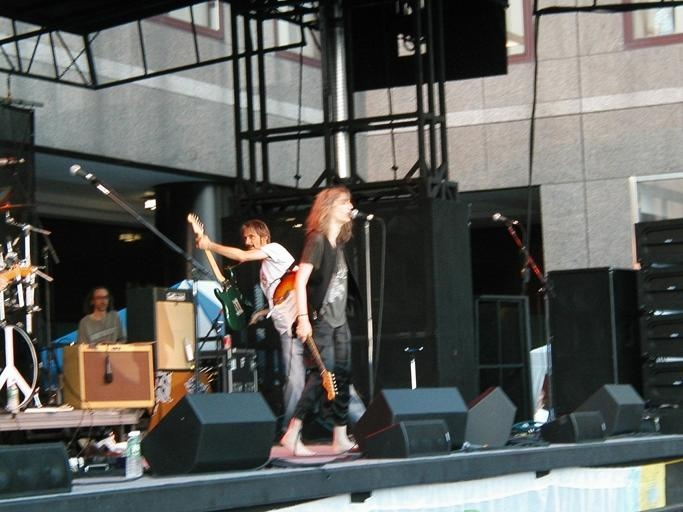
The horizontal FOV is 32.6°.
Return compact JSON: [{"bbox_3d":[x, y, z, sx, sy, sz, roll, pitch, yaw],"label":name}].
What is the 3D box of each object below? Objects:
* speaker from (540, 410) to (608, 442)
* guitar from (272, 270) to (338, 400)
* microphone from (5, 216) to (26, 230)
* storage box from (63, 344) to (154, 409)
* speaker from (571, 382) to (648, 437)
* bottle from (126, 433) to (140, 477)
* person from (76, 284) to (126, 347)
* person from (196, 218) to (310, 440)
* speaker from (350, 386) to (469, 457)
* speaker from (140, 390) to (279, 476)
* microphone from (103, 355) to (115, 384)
[{"bbox_3d":[1.620,1.213,8.281,0.317,0.135,0.247,-9,-7,43],"label":"speaker"},{"bbox_3d":[-0.293,0.552,8.569,0.354,0.745,1.034,-3,-1,-7],"label":"guitar"},{"bbox_3d":[-2.957,-0.305,10.503,0.135,0.055,0.038,12,16,-22],"label":"microphone"},{"bbox_3d":[-1.667,0.891,8.860,0.589,0.448,0.407,-2,2,4],"label":"storage box"},{"bbox_3d":[1.953,1.102,8.581,0.422,0.342,0.425,-2,-4,31],"label":"speaker"},{"bbox_3d":[-1.310,1.238,7.302,0.104,0.204,0.257,-3,-1,-11],"label":"bottle"},{"bbox_3d":[-2.275,0.557,10.881,0.510,0.774,0.291,-1,-7,-30],"label":"person"},{"bbox_3d":[-0.593,0.412,9.157,0.305,1.913,0.718,-21,-13,27],"label":"person"},{"bbox_3d":[0.428,1.058,7.780,0.573,0.340,0.490,5,-13,-43],"label":"speaker"},{"bbox_3d":[-0.831,1.071,7.290,0.567,0.475,0.715,6,0,42],"label":"speaker"},{"bbox_3d":[-1.740,0.836,8.655,0.069,0.152,0.052,-3,-1,-14],"label":"microphone"}]
